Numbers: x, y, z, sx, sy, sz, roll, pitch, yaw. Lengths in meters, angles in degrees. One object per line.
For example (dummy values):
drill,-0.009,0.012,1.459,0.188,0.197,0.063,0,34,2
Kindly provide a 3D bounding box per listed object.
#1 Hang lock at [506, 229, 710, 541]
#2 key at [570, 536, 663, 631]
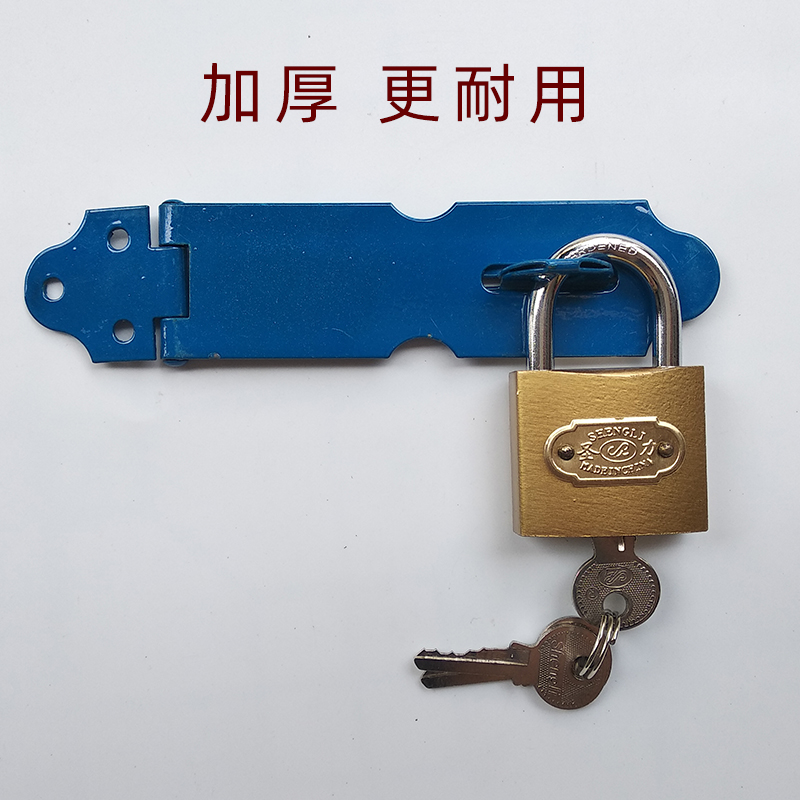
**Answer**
Hang lock,0.211,-0.014,1.186,0.186,0.326,0.059,-3,24,9
key,0.224,0.179,1.236,0.092,0.139,0.019,0,30,9
